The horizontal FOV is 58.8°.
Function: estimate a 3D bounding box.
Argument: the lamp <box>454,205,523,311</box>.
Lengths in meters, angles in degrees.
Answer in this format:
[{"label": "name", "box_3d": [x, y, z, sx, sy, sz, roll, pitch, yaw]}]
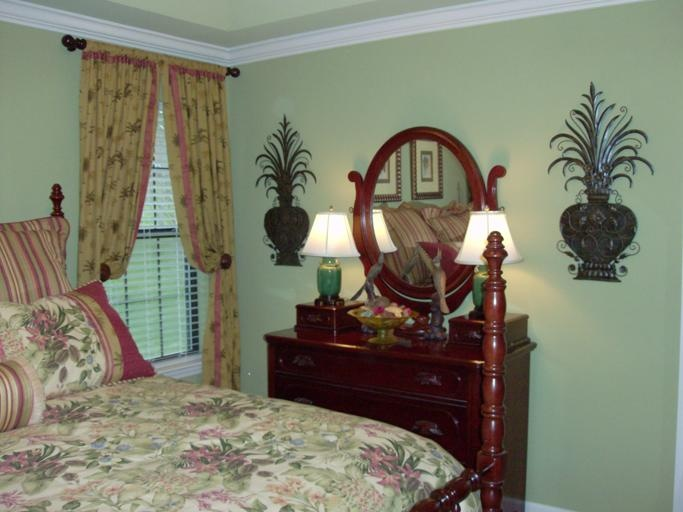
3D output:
[{"label": "lamp", "box_3d": [0.904, 0.035, 3.751, 0.409, 0.631, 0.404, 3, 13, 17]}]

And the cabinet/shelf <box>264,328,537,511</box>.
[{"label": "cabinet/shelf", "box_3d": [0.375, 0.826, 3.062, 1.235, 1.162, 0.498, 2, -1, 28]}]

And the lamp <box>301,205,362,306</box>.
[{"label": "lamp", "box_3d": [-0.075, 0.022, 4.105, 0.417, 0.617, 0.397, -1, 7, -25]}]

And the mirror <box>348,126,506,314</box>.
[{"label": "mirror", "box_3d": [0.589, -0.227, 3.934, 1.210, 1.382, 0.069, 5, 4, 35]}]
